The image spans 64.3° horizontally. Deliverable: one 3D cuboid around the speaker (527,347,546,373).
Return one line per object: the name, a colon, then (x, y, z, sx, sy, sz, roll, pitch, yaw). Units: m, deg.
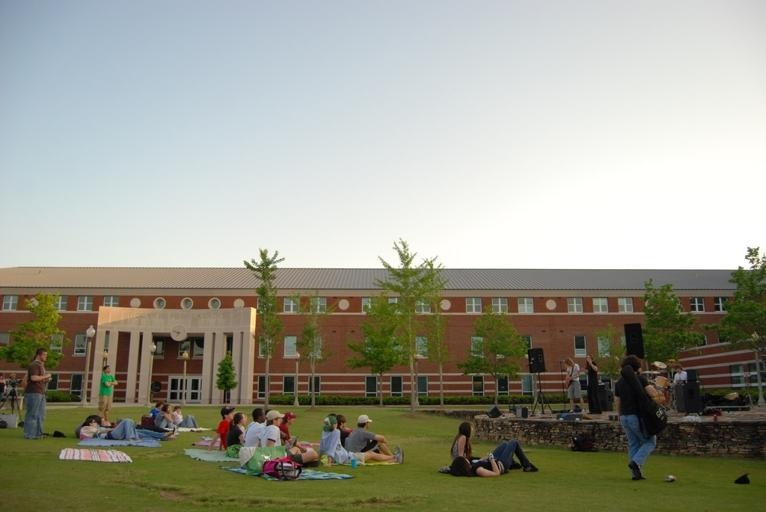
speaker: (7.796, 5.301, 30.779, 0.725, 1.382, 2.222, -5, -16, 11)

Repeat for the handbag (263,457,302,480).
handbag: (-2.613, 5.678, 16.146, 0.656, 0.250, 0.619, 0, -1, 1)

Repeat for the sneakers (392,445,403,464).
sneakers: (0.521, 6.290, 19.043, 0.284, 0.577, 0.219, 18, -30, -18)

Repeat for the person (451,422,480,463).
person: (2.301, 5.244, 17.137, 0.668, 1.044, 1.148, -3, -16, 2)

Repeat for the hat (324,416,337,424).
hat: (-1.486, 4.935, 18.201, 0.428, 0.201, 0.246, -5, 5, -19)

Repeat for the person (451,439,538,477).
person: (3.231, 5.853, 17.331, 2.484, 0.847, 1.458, -6, -13, -20)

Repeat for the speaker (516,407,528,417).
speaker: (6.195, 7.123, 26.975, 0.408, 0.499, 0.710, 0, -5, 3)

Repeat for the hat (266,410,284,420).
hat: (-3.218, 4.814, 18.345, 0.511, 0.296, 1.375, 1, -15, -9)
